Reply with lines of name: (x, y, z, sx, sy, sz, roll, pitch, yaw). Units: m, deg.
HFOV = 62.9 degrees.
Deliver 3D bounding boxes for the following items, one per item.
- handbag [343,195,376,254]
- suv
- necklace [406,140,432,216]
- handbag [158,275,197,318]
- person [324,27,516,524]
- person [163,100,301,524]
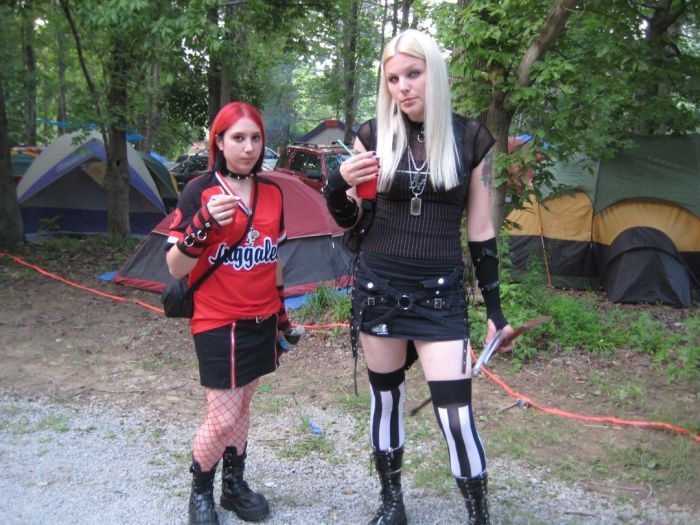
handbag: (0.033, -0.223, 3.399, 0.116, 0.296, 0.220, 4, 2, -4)
suv: (-1.081, -2.409, 13.609, 1.528, 1.419, 2.594, -9, 13, -36)
necklace: (0.380, -0.457, 3.250, 0.147, 0.379, 0.099, 7, 15, 26)
handbag: (-1.071, 0.207, 3.629, 0.152, 0.284, 0.210, 0, 2, -34)
person: (0.424, 0.194, 3.391, 1.009, 2.992, 0.585, 4, 14, 16)
person: (-0.707, 0.340, 3.617, 0.853, 2.618, 0.582, -5, 14, -20)
